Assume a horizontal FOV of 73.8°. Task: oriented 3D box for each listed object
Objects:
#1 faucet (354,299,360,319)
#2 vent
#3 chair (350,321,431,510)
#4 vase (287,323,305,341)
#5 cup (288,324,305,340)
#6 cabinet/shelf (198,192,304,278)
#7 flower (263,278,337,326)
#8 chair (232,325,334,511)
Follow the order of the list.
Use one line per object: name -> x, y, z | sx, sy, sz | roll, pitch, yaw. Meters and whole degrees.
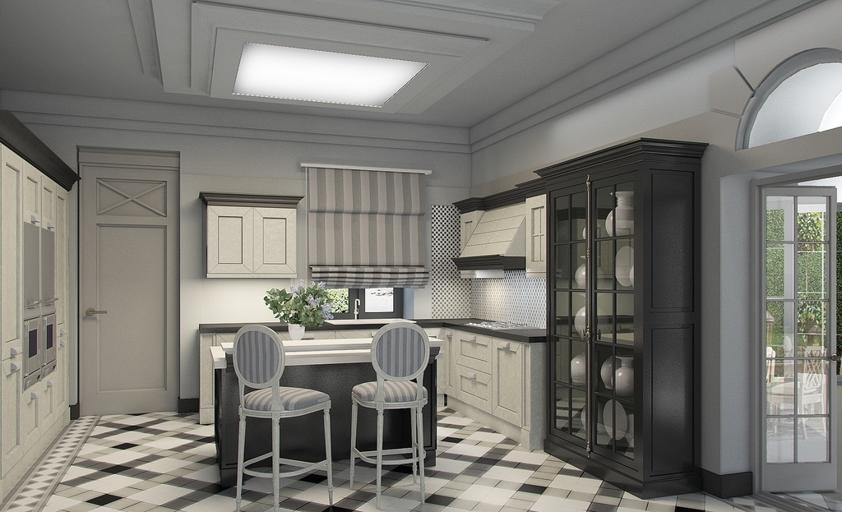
faucet -> -0.982, 0.816, 8.532 | 0.086, 0.285, 0.133 | 2, 8, 15
vent -> 1.030, -0.236, 8.021 | 0.631, 0.972, 1.576 | 5, -3, -18
chair -> -0.322, 1.448, 5.510 | 0.784, 1.650, 0.925 | 0, 7, -3
vase -> -1.323, 0.819, 6.045 | 0.216, 0.192, 0.219 | 2, -1, -19
cup -> -1.322, 0.808, 6.017 | 0.199, 0.163, 0.202 | 1, 1, 0
cabinet/shelf -> -2.402, -0.265, 7.705 | 1.350, 0.987, 0.438 | 1, -4, -20
flower -> -1.316, 0.489, 6.039 | 0.595, 0.364, 0.555 | 1, -3, -13
chair -> -1.318, 1.458, 5.338 | 0.916, 1.672, 0.825 | -1, 8, -11
